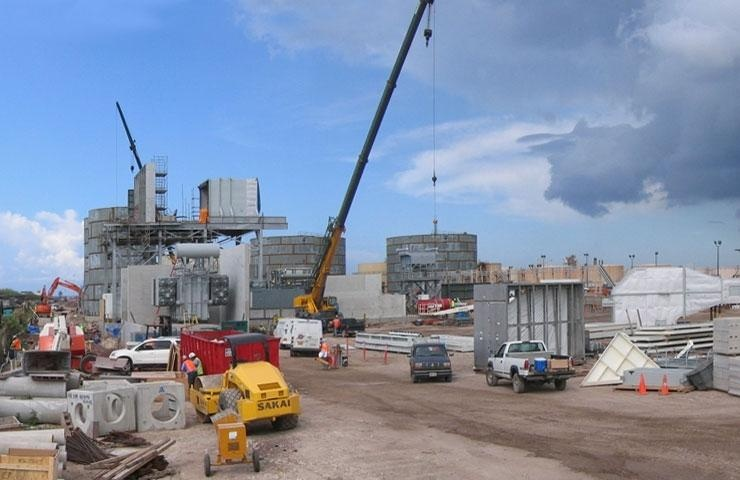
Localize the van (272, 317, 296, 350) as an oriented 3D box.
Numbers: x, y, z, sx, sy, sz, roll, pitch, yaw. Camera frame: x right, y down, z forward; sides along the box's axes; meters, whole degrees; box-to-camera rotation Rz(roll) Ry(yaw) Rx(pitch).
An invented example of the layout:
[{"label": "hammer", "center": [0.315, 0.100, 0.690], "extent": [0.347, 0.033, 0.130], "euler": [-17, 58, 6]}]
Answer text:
[{"label": "van", "center": [-5.711, 5.999, 58.235], "extent": [1.315, 1.317, 2.401], "euler": [0, 1, -6]}]

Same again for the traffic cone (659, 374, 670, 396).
[{"label": "traffic cone", "center": [13.255, 6.519, 39.757], "extent": [0.619, 1.026, 0.710], "euler": [-3, -6, 24]}]

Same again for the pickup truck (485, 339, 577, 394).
[{"label": "pickup truck", "center": [7.601, 6.007, 42.591], "extent": [2.695, 2.229, 5.335], "euler": [0, -3, -15]}]

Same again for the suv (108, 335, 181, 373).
[{"label": "suv", "center": [-12.103, 6.173, 48.071], "extent": [3.935, 1.564, 1.877], "euler": [2, -5, -13]}]

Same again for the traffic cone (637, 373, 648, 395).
[{"label": "traffic cone", "center": [12.382, 6.584, 40.196], "extent": [0.665, 0.972, 0.692], "euler": [-3, -8, 13]}]

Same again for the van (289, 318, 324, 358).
[{"label": "van", "center": [-4.273, 6.362, 58.695], "extent": [2.041, 2.506, 4.116], "euler": [3, -2, -6]}]

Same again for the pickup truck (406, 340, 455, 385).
[{"label": "pickup truck", "center": [3.085, 6.274, 46.088], "extent": [1.987, 1.976, 4.223], "euler": [-1, -3, 0]}]
